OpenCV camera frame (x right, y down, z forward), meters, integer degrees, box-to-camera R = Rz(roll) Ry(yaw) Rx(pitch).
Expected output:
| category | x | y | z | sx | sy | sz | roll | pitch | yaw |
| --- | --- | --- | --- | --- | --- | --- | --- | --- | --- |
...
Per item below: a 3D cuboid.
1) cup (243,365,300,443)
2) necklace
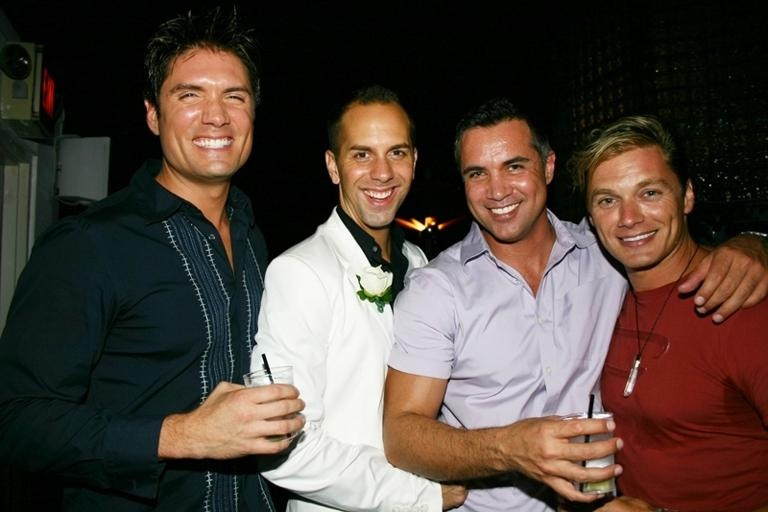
| category | x | y | z | sx | sy | sz | roll | pitch | yaw |
| --- | --- | --- | --- | --- | --- | --- | --- | --- | --- |
| cup | -0.610 | 0.792 | 3.450 | 0.376 | 0.376 | 0.346 | -4 | -10 | -1 |
| necklace | 1.606 | 0.393 | 3.858 | 0.307 | 0.990 | 0.051 | 12 | -10 | 33 |
